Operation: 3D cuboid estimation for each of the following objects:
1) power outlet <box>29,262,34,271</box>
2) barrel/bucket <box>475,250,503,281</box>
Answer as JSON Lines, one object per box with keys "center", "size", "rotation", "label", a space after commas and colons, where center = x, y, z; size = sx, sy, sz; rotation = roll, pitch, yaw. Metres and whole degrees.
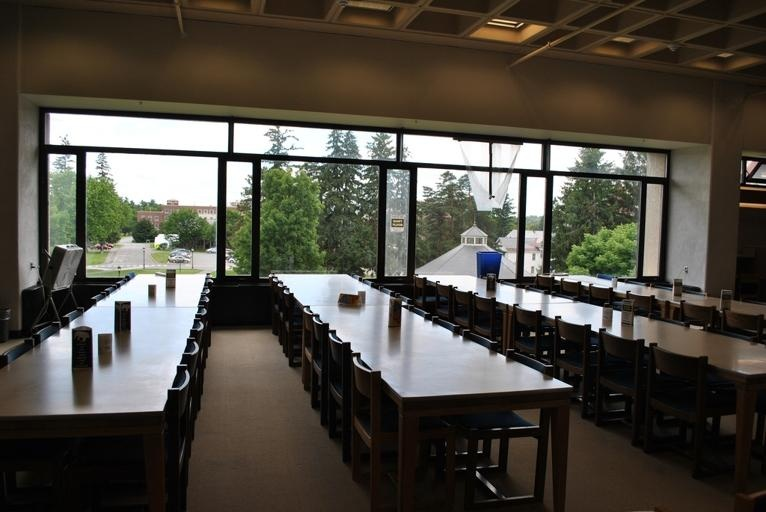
{"center": [-4.848, 0.135, 8.248], "size": [0.077, 0.115, 0.033], "rotation": [-2, 4, -12], "label": "power outlet"}
{"center": [1.703, 0.141, 9.470], "size": [0.469, 0.545, 0.397], "rotation": [0, 0, -14], "label": "barrel/bucket"}
